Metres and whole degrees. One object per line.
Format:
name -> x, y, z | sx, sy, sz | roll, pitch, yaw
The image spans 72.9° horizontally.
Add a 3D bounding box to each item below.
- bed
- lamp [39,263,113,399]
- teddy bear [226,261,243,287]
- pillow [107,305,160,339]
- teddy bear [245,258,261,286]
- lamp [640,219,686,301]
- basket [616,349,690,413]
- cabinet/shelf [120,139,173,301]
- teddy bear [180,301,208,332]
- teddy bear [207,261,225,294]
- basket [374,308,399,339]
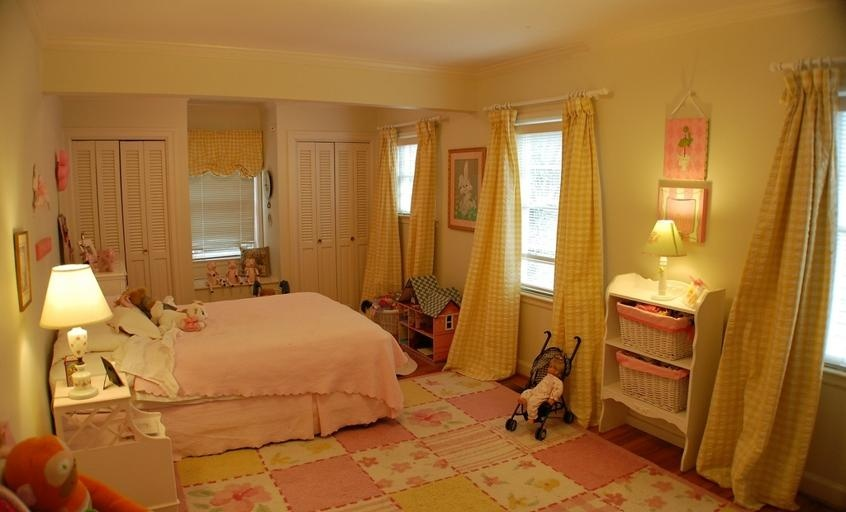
bed -> -1.477, 1.066, 5.368 | 2.114, 0.539, 1.632 | -1, 11, -21
lamp -> -2.593, 0.550, 4.330 | 0.407, 0.958, 0.369 | 3, 11, 15
teddy bear -> -2.661, 0.232, 8.126 | 0.216, 0.290, 0.500 | -3, 10, -17
pillow -> -2.627, 0.615, 5.243 | 0.415, 0.110, 0.299 | 29, 16, 38
teddy bear -> -2.403, 0.203, 8.090 | 0.201, 0.349, 0.386 | -2, 10, -16
lamp -> 2.108, 0.046, 5.027 | 0.395, 0.659, 0.375 | 2, 4, 2
basket -> 1.996, 1.119, 5.051 | 0.455, 0.441, 0.722 | -11, 14, -43
cabinet/shelf -> -3.573, -0.364, 7.486 | 0.582, 2.213, 0.151 | 3, 16, -9
teddy bear -> -2.241, 0.588, 5.596 | 0.215, 0.147, 0.315 | -6, 18, -28
teddy bear -> -2.850, 0.293, 7.913 | 0.227, 0.404, 0.192 | -3, 11, -18
basket -> -0.445, 0.883, 7.557 | 0.362, 0.308, 0.348 | 0, 2, 2
